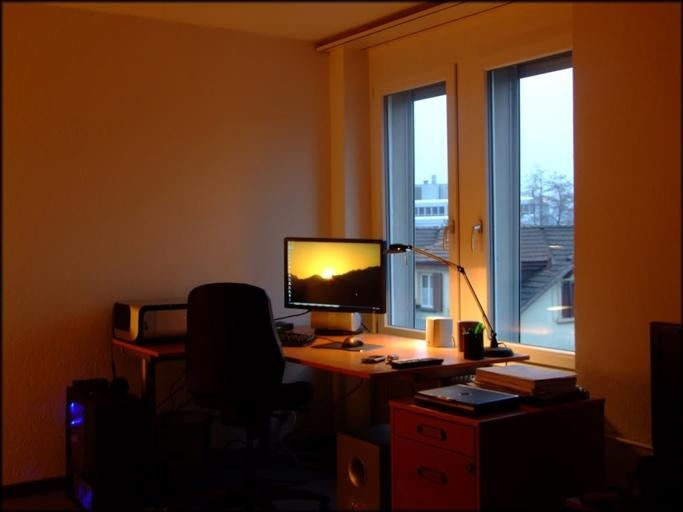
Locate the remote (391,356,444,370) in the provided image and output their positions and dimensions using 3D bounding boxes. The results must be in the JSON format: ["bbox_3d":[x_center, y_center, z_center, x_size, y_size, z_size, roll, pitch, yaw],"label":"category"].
[{"bbox_3d":[0.367,0.531,2.878,0.179,0.033,0.094,2,-4,-23],"label":"remote"}]

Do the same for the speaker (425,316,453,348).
[{"bbox_3d":[0.566,0.438,3.400,0.155,0.165,0.151,0,0,32],"label":"speaker"}]

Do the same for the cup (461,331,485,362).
[{"bbox_3d":[0.691,0.473,3.020,0.119,0.147,0.126,0,-1,0],"label":"cup"}]

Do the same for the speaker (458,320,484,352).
[{"bbox_3d":[0.682,0.426,3.128,0.143,0.183,0.152,1,-4,1],"label":"speaker"}]

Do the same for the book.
[{"bbox_3d":[0.907,0.579,2.666,0.225,0.058,0.229,-4,7,-36],"label":"book"}]

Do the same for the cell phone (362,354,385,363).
[{"bbox_3d":[0.166,0.531,3.008,0.126,0.033,0.182,1,1,2],"label":"cell phone"}]

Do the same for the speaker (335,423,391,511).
[{"bbox_3d":[0.117,1.103,2.925,0.131,0.361,0.321,1,1,-42],"label":"speaker"}]

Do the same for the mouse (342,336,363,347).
[{"bbox_3d":[0.072,0.496,3.353,0.117,0.048,0.201,2,1,16],"label":"mouse"}]
